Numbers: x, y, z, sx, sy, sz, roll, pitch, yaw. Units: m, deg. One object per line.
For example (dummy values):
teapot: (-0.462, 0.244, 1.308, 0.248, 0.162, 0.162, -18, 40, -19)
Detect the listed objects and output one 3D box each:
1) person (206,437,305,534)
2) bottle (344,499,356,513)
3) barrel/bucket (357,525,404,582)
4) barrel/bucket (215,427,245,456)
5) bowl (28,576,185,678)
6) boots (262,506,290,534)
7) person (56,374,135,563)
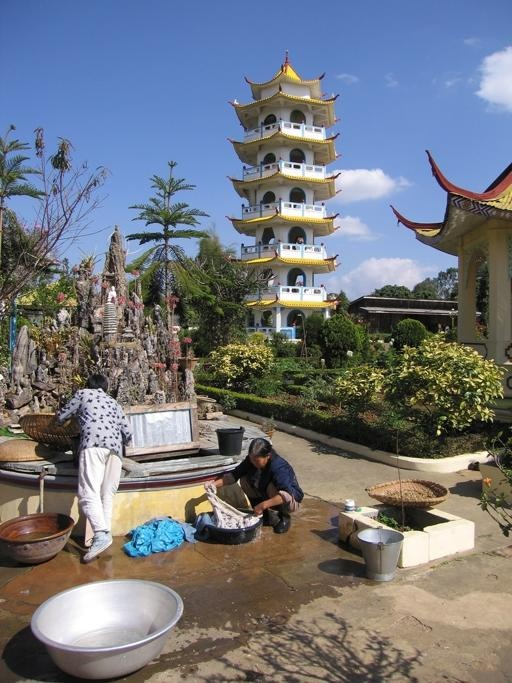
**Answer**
person: (-0.005, 1.363, 5.364, 0.903, 0.887, 0.824, 0, 8, 12)
bottle: (0.862, 1.493, 5.155, 0.152, 0.137, 0.143, 0, -13, 6)
barrel/bucket: (0.972, 1.617, 4.368, 0.362, 0.325, 0.383, 1, -4, 0)
barrel/bucket: (-0.253, 1.072, 6.067, 0.297, 0.223, 0.284, 0, -7, 0)
bowl: (-0.831, 1.641, 3.208, 0.796, 0.327, 0.718, 0, 1, -14)
boots: (0.219, 1.725, 5.438, 0.201, 0.302, 0.350, -5, 24, 4)
person: (-1.294, 1.036, 4.799, 0.600, 1.467, 0.569, 0, 1, -32)
